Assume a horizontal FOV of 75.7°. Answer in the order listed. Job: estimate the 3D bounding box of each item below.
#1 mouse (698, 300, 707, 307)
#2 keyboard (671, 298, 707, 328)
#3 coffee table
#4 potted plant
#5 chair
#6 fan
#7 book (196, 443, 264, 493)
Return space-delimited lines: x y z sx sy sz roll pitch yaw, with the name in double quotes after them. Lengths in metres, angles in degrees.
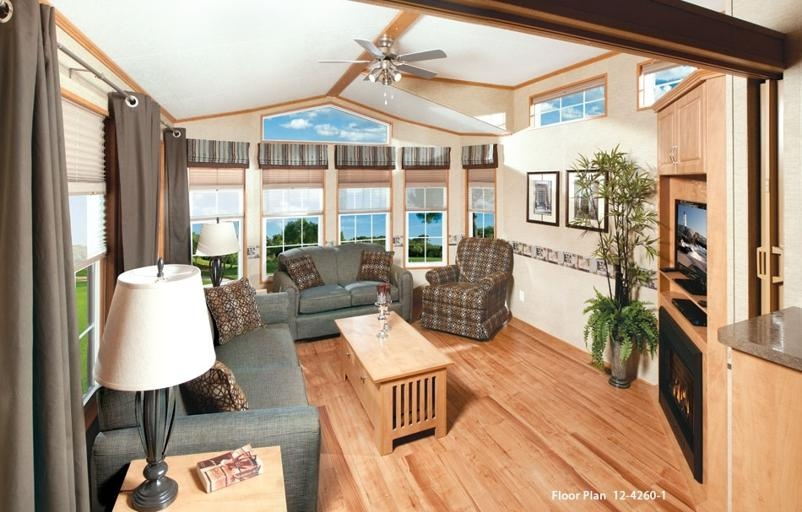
2.333 0.360 3.962 0.076 0.034 0.025 6 -7 -37 "mouse"
2.403 0.483 4.254 0.187 0.026 0.183 9 26 -2 "keyboard"
-0.049 0.909 4.671 0.887 0.757 1.689 -6 15 -18 "coffee table"
2.263 0.078 5.415 0.746 2.423 1.033 -1 7 18 "potted plant"
0.790 0.396 7.291 1.315 1.547 1.305 1 -1 36 "chair"
-0.099 -1.864 5.020 0.787 0.275 0.802 7 9 41 "fan"
-1.055 1.298 3.149 0.234 0.051 0.218 -6 13 -34 "book"
